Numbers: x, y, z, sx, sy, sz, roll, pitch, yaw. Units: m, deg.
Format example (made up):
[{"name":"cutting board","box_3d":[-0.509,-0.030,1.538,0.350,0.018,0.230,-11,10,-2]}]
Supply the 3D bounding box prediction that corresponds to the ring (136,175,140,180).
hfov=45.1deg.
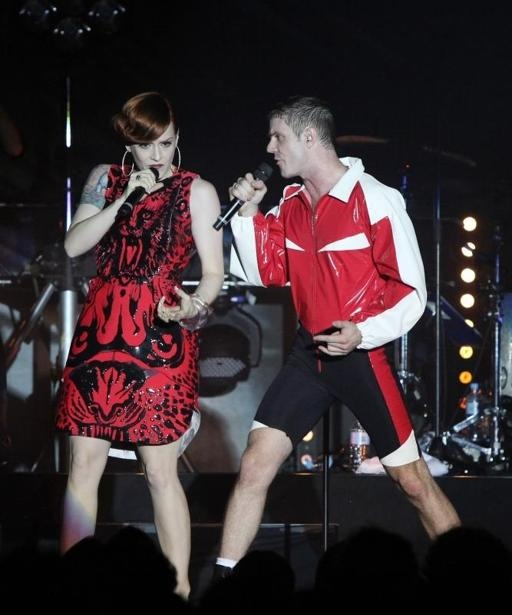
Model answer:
[{"name":"ring","box_3d":[-0.296,-0.327,1.548,0.007,0.014,0.009,3,8,-21]}]

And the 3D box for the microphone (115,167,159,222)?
[{"name":"microphone","box_3d":[-0.307,-0.290,1.611,0.035,0.167,0.049,38,-7,4]}]

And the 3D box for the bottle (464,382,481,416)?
[{"name":"bottle","box_3d":[1.120,0.480,3.171,0.058,0.171,0.096,5,7,-6]}]
